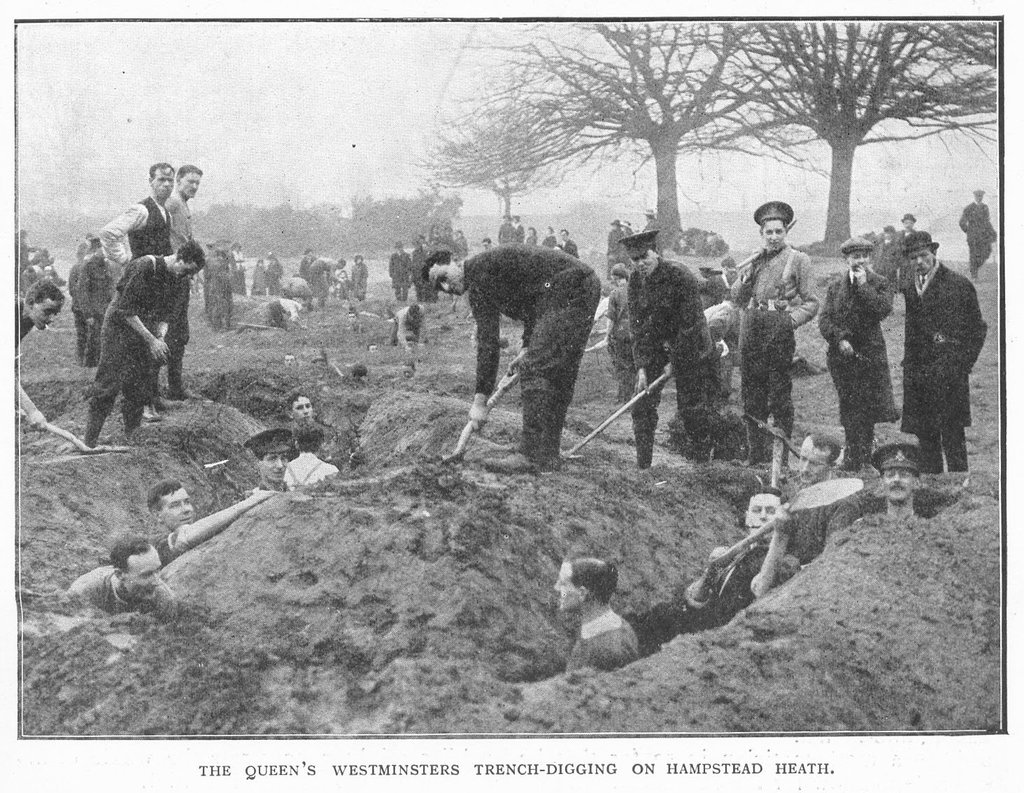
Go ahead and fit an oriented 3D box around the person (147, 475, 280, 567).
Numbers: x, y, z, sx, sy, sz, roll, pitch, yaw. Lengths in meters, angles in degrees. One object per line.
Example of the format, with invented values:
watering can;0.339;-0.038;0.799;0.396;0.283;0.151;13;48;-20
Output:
person;-2.779;1.032;9.461;0.970;0.358;0.679;-37;5;-26

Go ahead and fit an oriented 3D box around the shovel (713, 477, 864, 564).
shovel;2.469;1.141;9.416;1.188;0.269;0.173;-27;-13;1

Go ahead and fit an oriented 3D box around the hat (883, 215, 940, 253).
hat;3.682;-1.517;9.803;0.385;0.116;0.359;2;-2;-32

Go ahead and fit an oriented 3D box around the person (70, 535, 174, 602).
person;-3.415;1.552;9.168;0.564;0.446;0.726;2;-2;23

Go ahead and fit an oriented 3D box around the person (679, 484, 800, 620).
person;2.013;1.379;9.258;0.995;0.943;0.436;-3;8;-38

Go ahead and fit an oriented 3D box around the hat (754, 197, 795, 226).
hat;2.400;-1.642;9.633;0.380;0.225;0.290;3;6;3

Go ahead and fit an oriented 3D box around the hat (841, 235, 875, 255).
hat;3.157;-1.350;9.599;0.231;0.138;0.237;-3;-2;41
